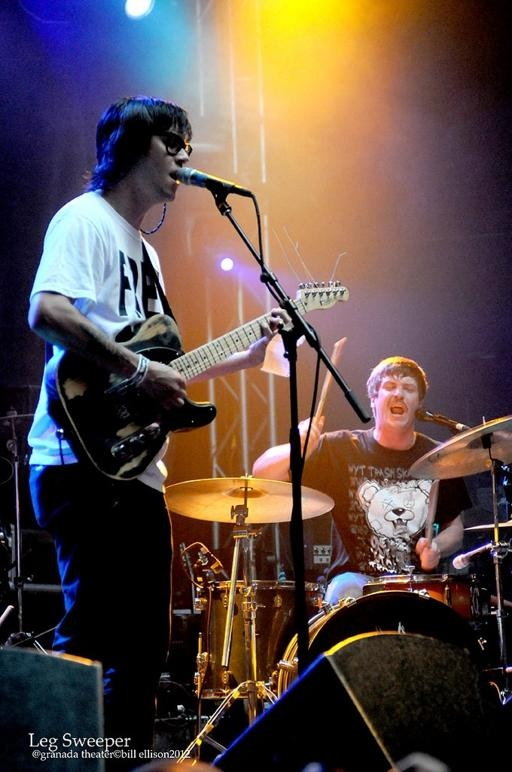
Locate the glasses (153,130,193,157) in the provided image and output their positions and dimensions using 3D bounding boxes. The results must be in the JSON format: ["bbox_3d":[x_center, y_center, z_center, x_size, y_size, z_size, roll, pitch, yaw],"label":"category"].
[{"bbox_3d":[-0.280,-0.799,2.590,0.090,0.028,0.088,33,16,20],"label":"glasses"}]

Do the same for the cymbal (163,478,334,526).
[{"bbox_3d":[-0.017,0.543,3.699,0.496,0.090,0.466,16,-35,-21],"label":"cymbal"}]

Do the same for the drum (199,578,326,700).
[{"bbox_3d":[0.003,1.194,3.783,0.610,0.499,0.563,2,-15,-6],"label":"drum"}]

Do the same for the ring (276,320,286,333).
[{"bbox_3d":[0.084,-0.188,2.503,0.029,0.043,0.045,-1,5,0],"label":"ring"}]

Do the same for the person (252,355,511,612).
[{"bbox_3d":[0.761,0.502,4.873,1.650,1.640,1.032,5,-33,2],"label":"person"}]
